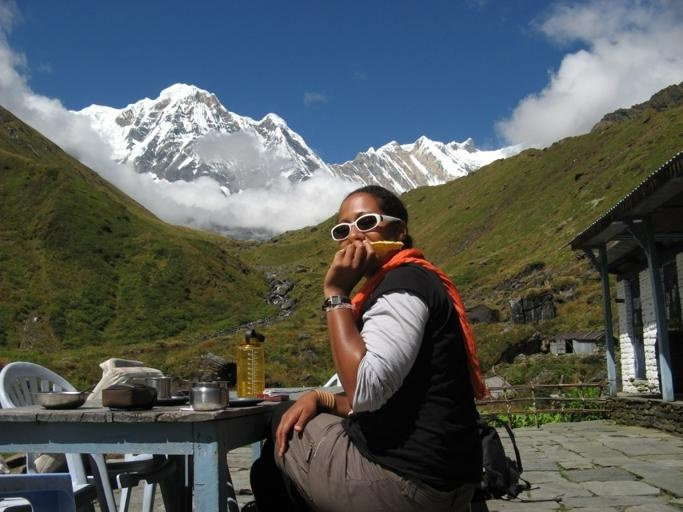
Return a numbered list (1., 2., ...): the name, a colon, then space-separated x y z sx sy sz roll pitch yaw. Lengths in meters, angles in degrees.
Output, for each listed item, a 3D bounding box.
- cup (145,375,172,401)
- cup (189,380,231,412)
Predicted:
1. cup: -1.121 0.830 3.659 0.193 0.139 0.106 1 -1 -33
2. cup: -0.729 0.763 3.223 0.169 0.106 0.169 0 -7 0
